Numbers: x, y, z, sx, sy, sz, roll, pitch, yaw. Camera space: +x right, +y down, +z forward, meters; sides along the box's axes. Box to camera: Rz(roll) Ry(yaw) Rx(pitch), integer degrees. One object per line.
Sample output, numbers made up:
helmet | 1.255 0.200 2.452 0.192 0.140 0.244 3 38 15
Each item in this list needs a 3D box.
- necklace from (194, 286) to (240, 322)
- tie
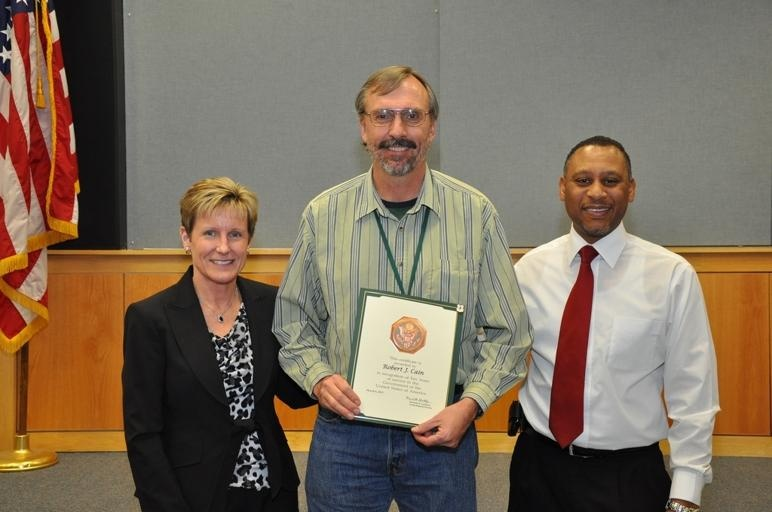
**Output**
necklace | -0.867 0.256 3.578 0.147 0.225 0.079 -7 -5 -13
tie | 0.957 0.469 3.518 0.165 1.082 0.062 9 6 34
